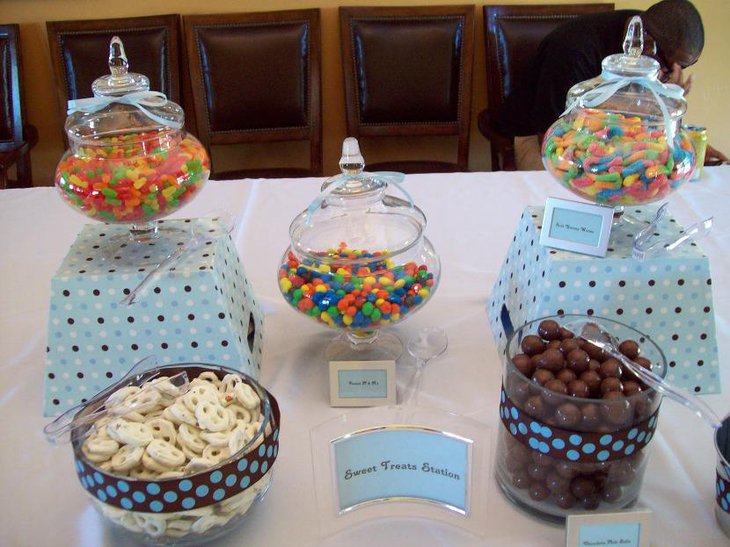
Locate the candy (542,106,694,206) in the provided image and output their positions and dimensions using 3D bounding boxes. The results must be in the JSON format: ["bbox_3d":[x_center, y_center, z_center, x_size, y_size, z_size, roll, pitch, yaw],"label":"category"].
[{"bbox_3d":[0.488,-0.228,1.140,0.207,0.121,0.215,12,29,28],"label":"candy"}]

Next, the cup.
[{"bbox_3d":[0.296,0.242,1.067,0.280,0.324,0.306,-2,33,1],"label":"cup"}]

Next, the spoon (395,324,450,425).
[{"bbox_3d":[0.110,0.206,1.265,0.054,0.028,0.243,14,38,12],"label":"spoon"}]

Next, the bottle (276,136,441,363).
[{"bbox_3d":[-0.022,-0.037,1.330,0.363,0.494,0.371,-3,21,1],"label":"bottle"}]

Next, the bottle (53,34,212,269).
[{"bbox_3d":[-0.486,-0.254,1.230,0.277,0.399,0.287,1,26,-1],"label":"bottle"}]

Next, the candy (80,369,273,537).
[{"bbox_3d":[-0.289,0.267,0.928,0.247,0.158,0.269,-2,29,-5],"label":"candy"}]

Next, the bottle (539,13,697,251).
[{"bbox_3d":[0.539,-0.299,1.233,0.289,0.448,0.292,-6,29,4],"label":"bottle"}]

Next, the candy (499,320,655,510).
[{"bbox_3d":[0.307,0.235,1.055,0.274,0.309,0.290,2,34,6],"label":"candy"}]

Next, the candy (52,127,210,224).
[{"bbox_3d":[-0.455,-0.195,1.184,0.272,0.154,0.165,-14,29,-23],"label":"candy"}]

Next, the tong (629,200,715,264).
[{"bbox_3d":[0.599,-0.075,1.185,0.146,0.056,0.111,-40,38,-16],"label":"tong"}]

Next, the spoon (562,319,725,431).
[{"bbox_3d":[0.461,0.167,0.999,0.049,0.067,0.317,-49,43,0],"label":"spoon"}]

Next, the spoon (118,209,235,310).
[{"bbox_3d":[-0.368,-0.038,1.242,0.105,0.031,0.212,4,41,29],"label":"spoon"}]
